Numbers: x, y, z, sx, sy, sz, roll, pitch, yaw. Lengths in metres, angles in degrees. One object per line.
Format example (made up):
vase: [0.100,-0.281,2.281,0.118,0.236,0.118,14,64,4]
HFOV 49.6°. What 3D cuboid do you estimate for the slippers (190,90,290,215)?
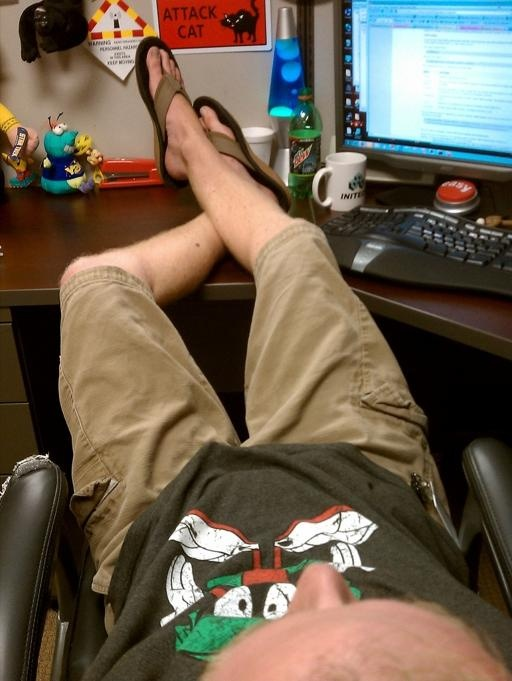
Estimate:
slippers: [-0.024,-0.390,1.153,0.339,0.123,0.089,53,17,5]

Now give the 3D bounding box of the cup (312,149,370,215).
cup: [0.155,-0.304,1.117,0.129,0.128,0.131,1,37,-1]

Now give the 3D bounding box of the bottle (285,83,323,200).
bottle: [0.092,-0.412,1.158,0.078,0.209,0.117,-2,36,-2]

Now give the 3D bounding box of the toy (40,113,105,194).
toy: [-0.406,-0.402,1.274,0.139,0.189,0.140,-9,35,-15]

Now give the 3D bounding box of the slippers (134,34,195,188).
slippers: [-0.192,-0.477,1.190,0.125,0.288,0.182,-5,40,-8]
